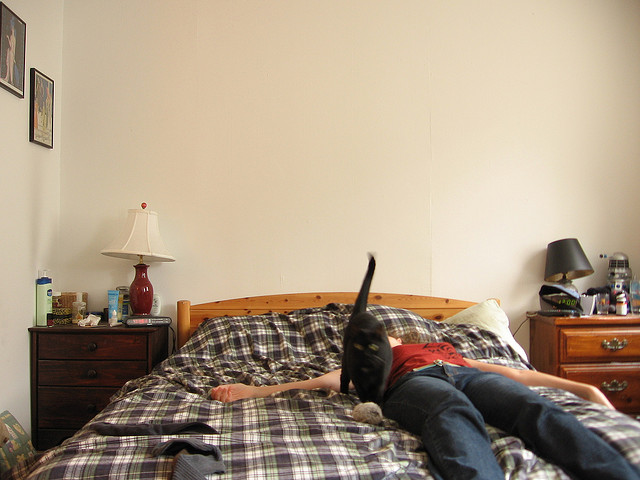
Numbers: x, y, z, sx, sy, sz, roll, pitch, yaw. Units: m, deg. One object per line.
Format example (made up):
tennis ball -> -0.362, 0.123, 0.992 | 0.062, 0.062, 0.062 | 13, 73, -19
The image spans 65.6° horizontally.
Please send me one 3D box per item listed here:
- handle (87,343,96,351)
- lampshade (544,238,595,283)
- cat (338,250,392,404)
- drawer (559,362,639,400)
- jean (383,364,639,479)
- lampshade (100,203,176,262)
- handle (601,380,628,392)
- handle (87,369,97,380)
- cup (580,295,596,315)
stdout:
handle -> -1.374, 0.638, 2.981 | 0.043, 0.041, 0.010 | 5, -3, -4
lampshade -> 1.646, 0.117, 3.399 | 0.294, 0.282, 0.298 | -14, -7, 43
cat -> 0.177, 0.425, 2.356 | 0.368, 0.595, 0.253 | 7, -8, -1
drawer -> 1.795, 0.858, 3.138 | 0.435, 0.252, 0.229 | 0, -8, 2
jean -> 0.680, 0.661, 1.959 | 0.377, 0.136, 0.526 | -8, 10, -21
lampshade -> -1.180, -0.053, 3.294 | 0.519, 0.400, 0.496 | 8, -6, -25
handle -> 1.832, 0.906, 3.088 | 0.142, 0.066, 0.025 | 0, 1, 5
handle -> -1.364, 0.802, 2.968 | 0.050, 0.047, 0.012 | 1, 3, -2
cup -> 1.756, 0.416, 3.270 | 0.127, 0.143, 0.111 | 2, -1, 27
